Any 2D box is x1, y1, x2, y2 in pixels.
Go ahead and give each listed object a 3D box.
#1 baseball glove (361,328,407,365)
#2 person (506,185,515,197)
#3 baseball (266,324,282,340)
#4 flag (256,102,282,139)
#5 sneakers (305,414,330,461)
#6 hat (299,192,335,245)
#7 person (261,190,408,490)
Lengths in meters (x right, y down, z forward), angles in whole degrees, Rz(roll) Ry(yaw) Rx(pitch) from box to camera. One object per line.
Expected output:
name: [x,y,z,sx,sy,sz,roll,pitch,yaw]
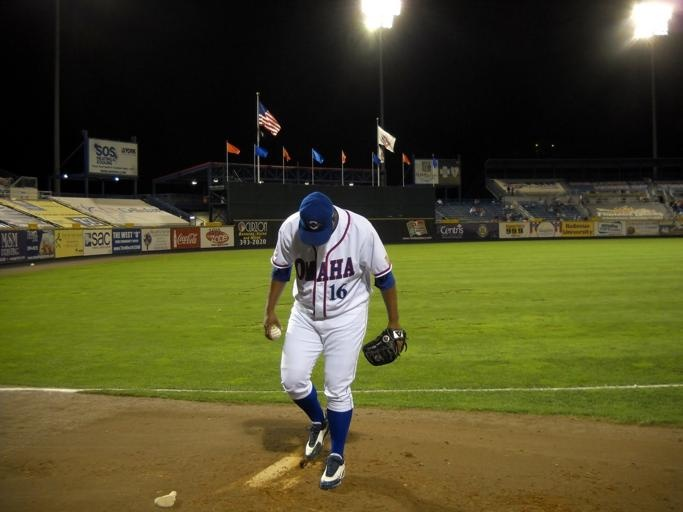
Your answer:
baseball glove: [0.407,0.891,6.620,0.427,0.303,0.181,-41,-3,-9]
person: [13.943,-5.370,56.956,0.678,0.218,0.921,3,38,10]
baseball: [-0.642,0.731,6.539,0.116,0.100,0.137,-2,-1,1]
flag: [-3.505,-6.412,32.644,0.912,1.434,1.308,-1,1,-5]
sneakers: [-0.198,1.721,6.548,0.143,0.429,0.203,2,-31,30]
hat: [-0.224,-0.334,6.212,0.322,0.500,0.411,-1,1,-2]
person: [-0.118,0.707,6.475,1.062,2.658,0.928,0,1,43]
